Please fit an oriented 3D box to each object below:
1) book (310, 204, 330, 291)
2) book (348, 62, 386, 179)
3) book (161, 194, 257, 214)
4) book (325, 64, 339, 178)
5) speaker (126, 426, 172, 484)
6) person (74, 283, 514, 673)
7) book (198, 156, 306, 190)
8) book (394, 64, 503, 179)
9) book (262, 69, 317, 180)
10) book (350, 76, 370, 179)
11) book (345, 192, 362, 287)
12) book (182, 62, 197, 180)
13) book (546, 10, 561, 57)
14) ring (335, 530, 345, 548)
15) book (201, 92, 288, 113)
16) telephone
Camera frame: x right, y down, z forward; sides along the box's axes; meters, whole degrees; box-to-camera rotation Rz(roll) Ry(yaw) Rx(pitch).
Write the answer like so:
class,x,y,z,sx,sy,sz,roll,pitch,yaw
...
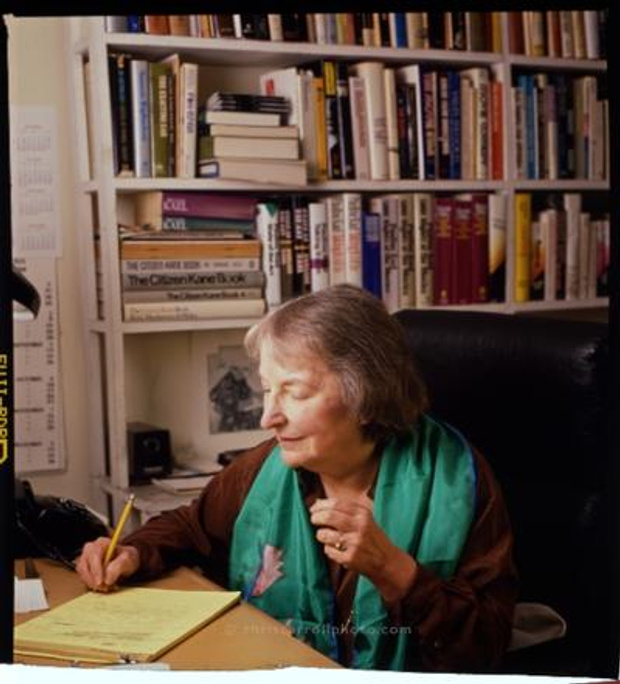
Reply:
class,x,y,z,sx,sy,sz,roll,pitch,yaw
book,0.021,-0.245,1.880,0.051,0.191,0.197,-1,1,7
book,0.139,-0.571,1.851,0.105,0.255,0.294,-4,6,1
book,-0.254,-0.334,1.794,0.111,0.023,0.110,1,1,-43
book,0.055,-0.548,1.823,0.038,0.277,0.014,-7,10,-34
speaker,-0.416,0.283,1.945,0.128,0.146,0.220,-1,3,-20
person,0.008,0.202,1.532,0.715,0.963,0.650,5,-1,-28
book,-0.138,-0.404,1.748,0.256,0.064,0.077,-2,7,-7
book,0.387,-0.530,2.073,0.320,0.357,0.395,0,4,12
book,-0.047,-0.519,1.776,0.119,0.246,0.281,-5,6,-9
book,0.125,-0.538,1.853,0.053,0.246,0.015,-5,9,-27
book,0.121,-0.268,1.920,0.040,0.233,0.089,2,8,24
book,-0.286,-0.521,1.729,0.045,0.260,0.017,-4,8,-17
book,0.653,-0.832,1.984,0.025,0.094,0.100,3,17,13
ring,0.040,0.268,0.991,0.017,0.019,0.008,-4,-15,16
book,-0.151,-0.567,1.741,0.114,0.023,0.105,0,6,-3
telephone,-0.419,0.306,1.219,0.160,0.065,0.095,9,6,23
